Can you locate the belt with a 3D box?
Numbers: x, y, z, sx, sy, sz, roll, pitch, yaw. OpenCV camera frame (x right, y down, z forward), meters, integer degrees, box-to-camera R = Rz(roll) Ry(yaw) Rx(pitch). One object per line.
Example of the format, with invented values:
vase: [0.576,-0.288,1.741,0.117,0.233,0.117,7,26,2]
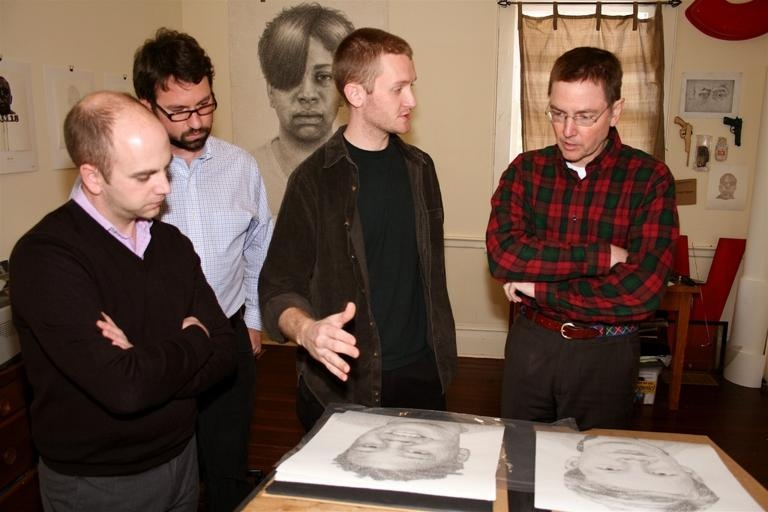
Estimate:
belt: [0.891,0.301,2.614,0.522,0.123,0.165,2,12,17]

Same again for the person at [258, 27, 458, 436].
person: [-0.116,-0.100,2.403,0.608,1.730,0.942,9,16,39]

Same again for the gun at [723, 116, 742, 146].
gun: [2.876,-1.032,4.681,0.162,0.246,0.044,0,12,4]

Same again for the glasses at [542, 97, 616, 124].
glasses: [0.887,-0.650,2.531,0.191,0.060,0.199,12,36,35]

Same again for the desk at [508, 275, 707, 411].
desk: [2.053,0.657,4.588,0.830,0.861,0.737,5,0,9]
